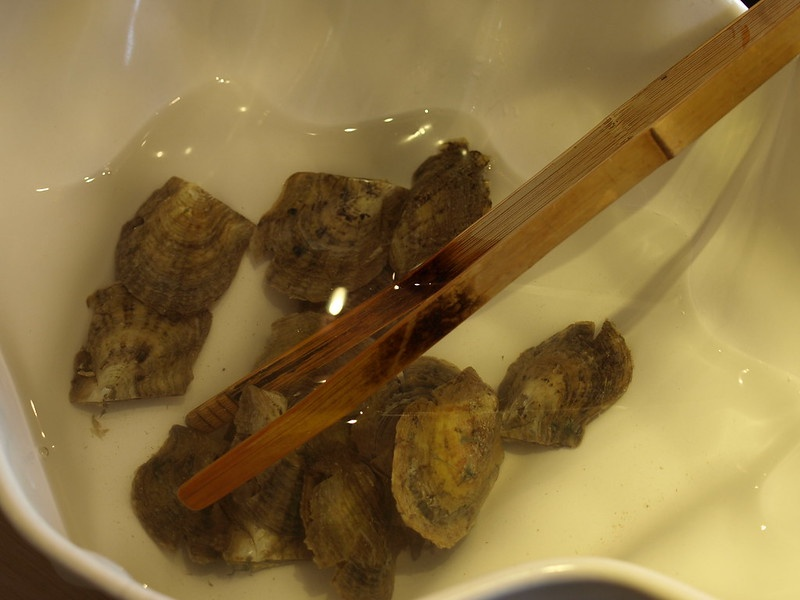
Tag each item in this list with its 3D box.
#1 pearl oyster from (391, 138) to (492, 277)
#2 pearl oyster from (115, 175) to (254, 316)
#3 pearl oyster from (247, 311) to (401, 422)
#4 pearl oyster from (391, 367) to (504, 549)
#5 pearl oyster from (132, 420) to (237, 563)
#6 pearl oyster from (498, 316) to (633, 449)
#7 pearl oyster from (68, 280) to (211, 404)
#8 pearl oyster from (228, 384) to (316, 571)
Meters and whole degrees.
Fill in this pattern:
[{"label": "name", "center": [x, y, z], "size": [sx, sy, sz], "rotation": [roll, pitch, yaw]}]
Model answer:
[{"label": "pearl oyster", "center": [0.062, -0.142, 1.147], "size": [0.129, 0.042, 0.189], "rotation": [38, 81, 12]}, {"label": "pearl oyster", "center": [-0.306, -0.081, 1.092], "size": [0.171, 0.222, 0.056], "rotation": [3, 55, -11]}, {"label": "pearl oyster", "center": [-0.134, 0.090, 1.114], "size": [0.138, 0.038, 0.149], "rotation": [-29, 62, -1]}, {"label": "pearl oyster", "center": [0.080, 0.201, 1.043], "size": [0.210, 0.048, 0.172], "rotation": [-34, 93, -25]}, {"label": "pearl oyster", "center": [-0.287, 0.248, 1.041], "size": [0.142, 0.101, 0.146], "rotation": [20, 41, -12]}, {"label": "pearl oyster", "center": [0.229, 0.116, 1.071], "size": [0.183, 0.137, 0.121], "rotation": [7, 43, -25]}, {"label": "pearl oyster", "center": [-0.361, 0.076, 1.090], "size": [0.172, 0.111, 0.124], "rotation": [17, 41, -16]}, {"label": "pearl oyster", "center": [-0.174, 0.241, 1.062], "size": [0.101, 0.037, 0.210], "rotation": [-5, 91, -2]}]
